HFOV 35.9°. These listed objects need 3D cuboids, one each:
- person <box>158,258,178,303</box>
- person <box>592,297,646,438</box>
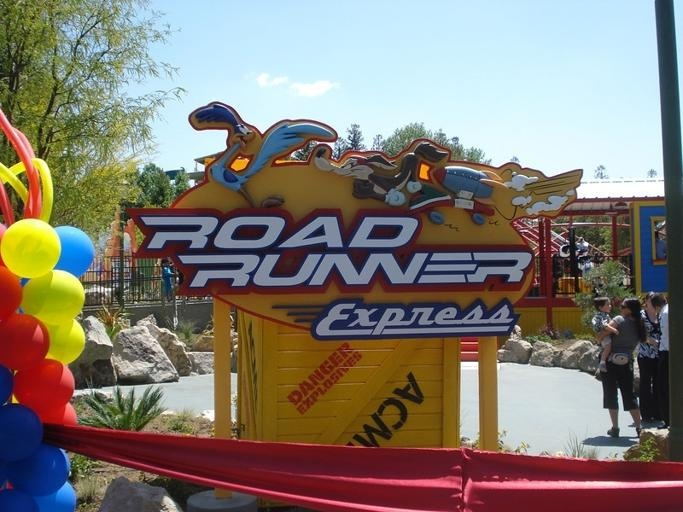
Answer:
[{"bbox_3d":[-4.264,0.571,26.032,0.327,1.160,0.331,-3,29,-10],"label":"person"},{"bbox_3d":[4.258,1.706,15.989,0.670,2.127,0.766,1,-6,17],"label":"person"}]
